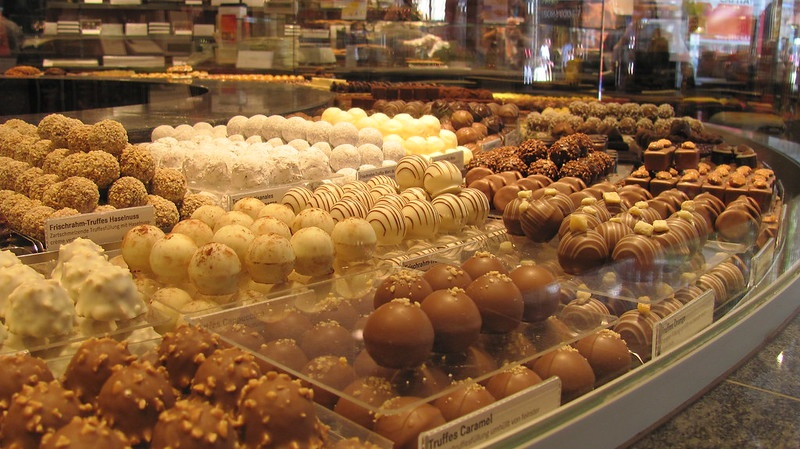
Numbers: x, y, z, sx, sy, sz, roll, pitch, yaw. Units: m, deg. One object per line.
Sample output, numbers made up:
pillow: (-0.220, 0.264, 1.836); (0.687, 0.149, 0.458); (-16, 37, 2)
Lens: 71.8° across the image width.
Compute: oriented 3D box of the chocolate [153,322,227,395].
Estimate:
chocolate: (-0.776, 0.490, 1.996); (0.221, 0.219, 0.216); (0, -4, 2)

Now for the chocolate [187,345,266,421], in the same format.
chocolate: (-0.635, 0.551, 1.911); (0.226, 0.221, 0.214); (9, -18, -43)

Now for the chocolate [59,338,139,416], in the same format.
chocolate: (-1.017, 0.474, 1.880); (0.204, 0.215, 0.222); (14, 30, -6)

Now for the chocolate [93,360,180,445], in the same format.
chocolate: (-0.851, 0.566, 1.811); (0.248, 0.213, 0.243); (3, 1, -26)

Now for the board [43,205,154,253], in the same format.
board: (-1.329, 0.022, 2.487); (0.462, 0.044, 0.160); (-10, 64, -22)
